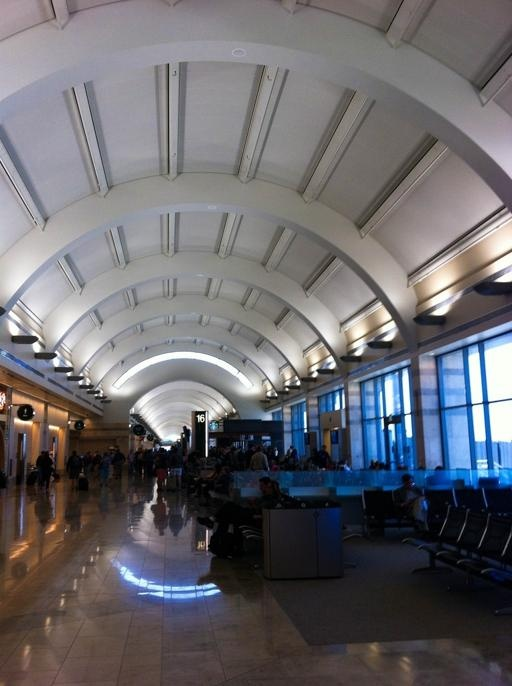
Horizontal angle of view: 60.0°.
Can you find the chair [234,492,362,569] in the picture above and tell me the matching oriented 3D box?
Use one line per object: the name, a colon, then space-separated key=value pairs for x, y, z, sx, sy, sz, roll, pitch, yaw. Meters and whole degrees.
chair: x=0.617 y=2.659 z=6.573 sx=1.222 sy=1.188 sz=1.705 roll=1 pitch=-22 yaw=-5
